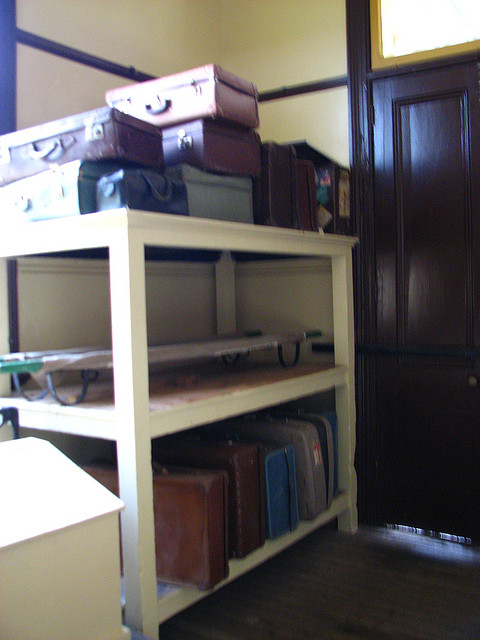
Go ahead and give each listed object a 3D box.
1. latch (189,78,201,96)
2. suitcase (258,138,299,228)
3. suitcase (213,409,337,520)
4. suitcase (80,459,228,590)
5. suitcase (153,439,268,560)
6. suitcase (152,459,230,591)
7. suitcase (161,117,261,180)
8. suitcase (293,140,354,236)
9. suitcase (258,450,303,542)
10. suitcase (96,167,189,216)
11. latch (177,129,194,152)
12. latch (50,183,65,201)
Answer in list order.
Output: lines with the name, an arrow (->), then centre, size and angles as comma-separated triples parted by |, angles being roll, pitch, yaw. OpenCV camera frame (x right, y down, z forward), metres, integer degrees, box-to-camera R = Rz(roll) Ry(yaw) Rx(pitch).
latch -> -0.134, -0.689, 1.511 | 0.015, 0.034, 0.050 | -16, -29, -12
suitcase -> 0.135, -0.470, 1.883 | 0.159, 0.304, 0.152 | 1, -3, -29
suitcase -> 0.179, 0.584, 2.142 | 0.225, 0.455, 0.462 | -5, 1, -27
suitcase -> -0.225, 0.592, 1.542 | 0.348, 0.327, 0.136 | -1, 1, 26
suitcase -> -0.085, 0.547, 1.541 | 0.257, 0.335, 0.104 | -2, -1, 31
suitcase -> -0.142, 0.593, 1.458 | 0.263, 0.421, 0.117 | 1, 2, 18
suitcase -> -0.097, -0.523, 1.736 | 0.221, 0.199, 0.338 | 0, -5, -21
suitcase -> 0.369, -0.573, 2.243 | 0.164, 0.361, 0.323 | 7, 16, 21
suitcase -> 0.132, 0.603, 1.767 | 0.082, 0.342, 0.290 | -8, 0, 9
suitcase -> -0.229, -0.326, 1.331 | 0.117, 0.124, 0.274 | -1, -1, 42
latch -> -0.165, -0.547, 1.555 | 0.064, 0.069, 0.014 | -1, -1, 42
latch -> -0.469, -0.330, 1.315 | 0.034, 0.050, 0.009 | -3, 3, 43
